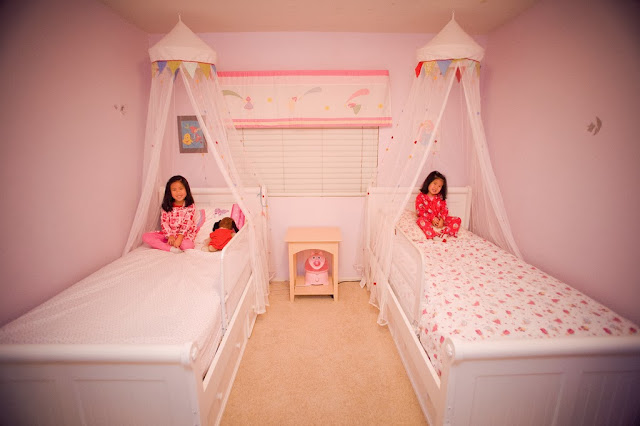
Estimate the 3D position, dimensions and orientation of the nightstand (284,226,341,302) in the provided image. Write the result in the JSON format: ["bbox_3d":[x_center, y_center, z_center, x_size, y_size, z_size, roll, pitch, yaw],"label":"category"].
[{"bbox_3d":[-0.091,0.611,5.101,0.657,0.854,0.585,2,6,-3],"label":"nightstand"}]

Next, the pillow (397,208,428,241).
[{"bbox_3d":[1.054,0.167,4.665,0.311,0.077,0.312,32,36,16],"label":"pillow"}]

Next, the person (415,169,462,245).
[{"bbox_3d":[1.373,-0.087,4.760,0.497,0.736,0.628,2,14,2],"label":"person"}]

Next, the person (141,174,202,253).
[{"bbox_3d":[-1.491,0.004,4.822,0.720,1.063,0.750,1,7,-7],"label":"person"}]

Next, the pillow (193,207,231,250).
[{"bbox_3d":[-1.145,0.194,4.593,0.363,0.168,0.443,-3,38,3],"label":"pillow"}]
